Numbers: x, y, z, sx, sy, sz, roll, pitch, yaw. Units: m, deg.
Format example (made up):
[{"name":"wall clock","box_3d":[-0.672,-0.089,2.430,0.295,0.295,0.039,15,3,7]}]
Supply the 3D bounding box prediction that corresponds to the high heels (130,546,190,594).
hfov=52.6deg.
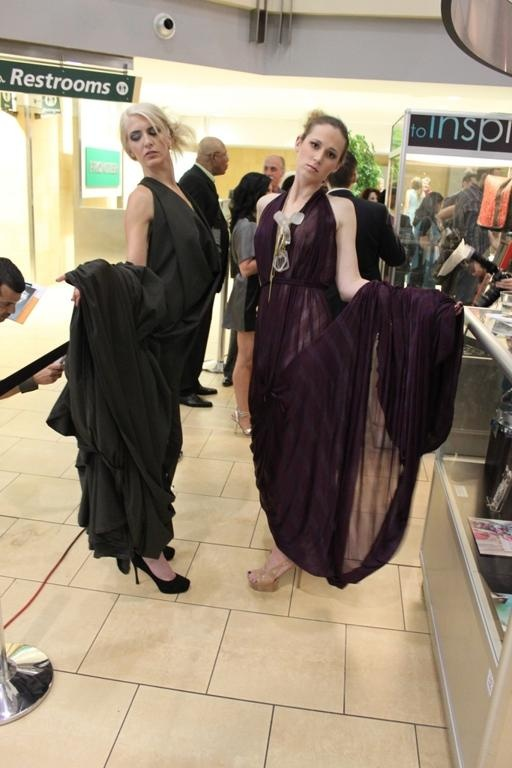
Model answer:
[{"name":"high heels","box_3d":[-0.319,0.683,1.894,0.252,0.189,0.108,3,10,-6]}]

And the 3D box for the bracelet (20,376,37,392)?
[{"name":"bracelet","box_3d":[-0.765,0.001,1.716,0.042,0.054,0.054,-2,1,0]}]

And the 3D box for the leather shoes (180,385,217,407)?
[{"name":"leather shoes","box_3d":[-0.439,0.115,3.801,0.192,0.068,0.201,-3,21,6]}]

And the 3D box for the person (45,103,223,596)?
[{"name":"person","box_3d":[-0.407,-0.060,1.691,0.312,1.684,0.678,8,12,25]}]
